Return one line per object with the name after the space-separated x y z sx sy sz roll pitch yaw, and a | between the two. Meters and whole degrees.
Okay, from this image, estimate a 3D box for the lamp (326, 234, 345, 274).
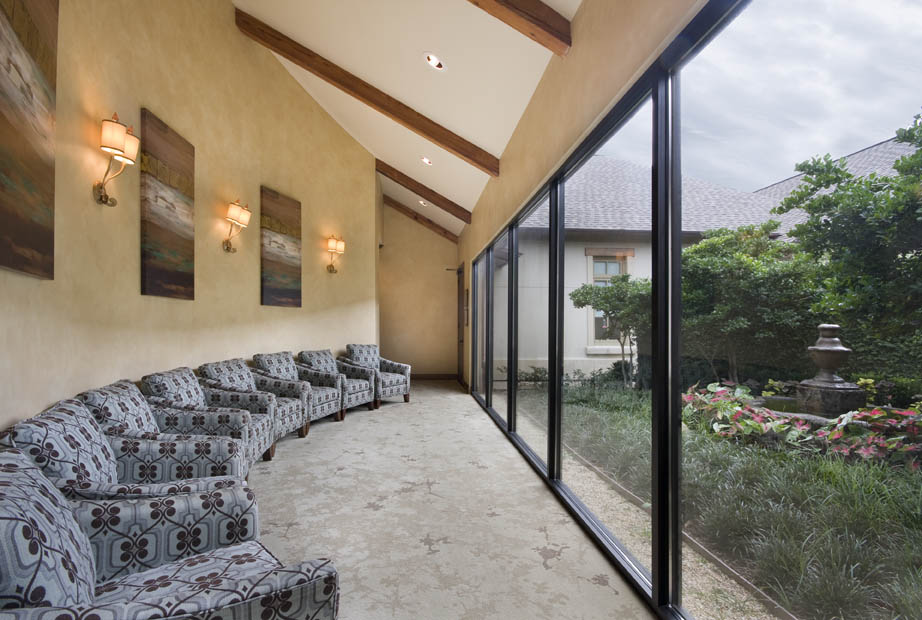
-1.598 -0.718 7.492 0.152 0.468 0.423 1 8 8 | lamp

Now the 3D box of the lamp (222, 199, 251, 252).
-2.068 -0.785 5.416 0.194 0.476 0.386 0 8 -1 | lamp

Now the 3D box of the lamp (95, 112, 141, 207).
-2.227 -0.995 3.785 0.212 0.620 0.413 -1 8 -7 | lamp
